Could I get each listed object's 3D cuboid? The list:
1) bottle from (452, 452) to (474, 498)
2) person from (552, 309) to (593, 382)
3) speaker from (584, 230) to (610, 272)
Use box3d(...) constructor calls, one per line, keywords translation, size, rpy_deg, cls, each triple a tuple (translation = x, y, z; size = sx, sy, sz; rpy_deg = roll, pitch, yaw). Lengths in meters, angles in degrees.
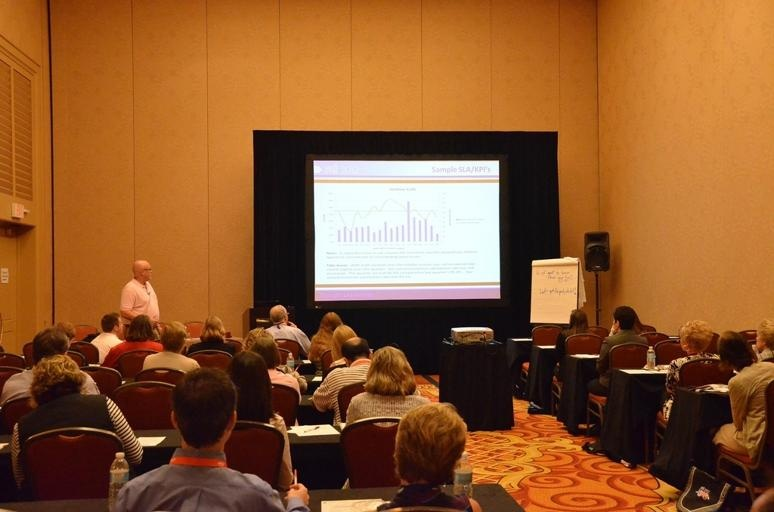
box3d(translation=(0.594, 1.686, 4.989), size=(0.154, 0.488, 0.157), rpy_deg=(0, 27, 0), cls="bottle")
box3d(translation=(2.885, 1.321, 10.285), size=(0.509, 1.288, 0.680), rpy_deg=(-2, 27, -6), cls="person")
box3d(translation=(4.458, -0.097, 13.880), size=(0.523, 0.834, 0.449), rpy_deg=(5, 10, 13), cls="speaker")
